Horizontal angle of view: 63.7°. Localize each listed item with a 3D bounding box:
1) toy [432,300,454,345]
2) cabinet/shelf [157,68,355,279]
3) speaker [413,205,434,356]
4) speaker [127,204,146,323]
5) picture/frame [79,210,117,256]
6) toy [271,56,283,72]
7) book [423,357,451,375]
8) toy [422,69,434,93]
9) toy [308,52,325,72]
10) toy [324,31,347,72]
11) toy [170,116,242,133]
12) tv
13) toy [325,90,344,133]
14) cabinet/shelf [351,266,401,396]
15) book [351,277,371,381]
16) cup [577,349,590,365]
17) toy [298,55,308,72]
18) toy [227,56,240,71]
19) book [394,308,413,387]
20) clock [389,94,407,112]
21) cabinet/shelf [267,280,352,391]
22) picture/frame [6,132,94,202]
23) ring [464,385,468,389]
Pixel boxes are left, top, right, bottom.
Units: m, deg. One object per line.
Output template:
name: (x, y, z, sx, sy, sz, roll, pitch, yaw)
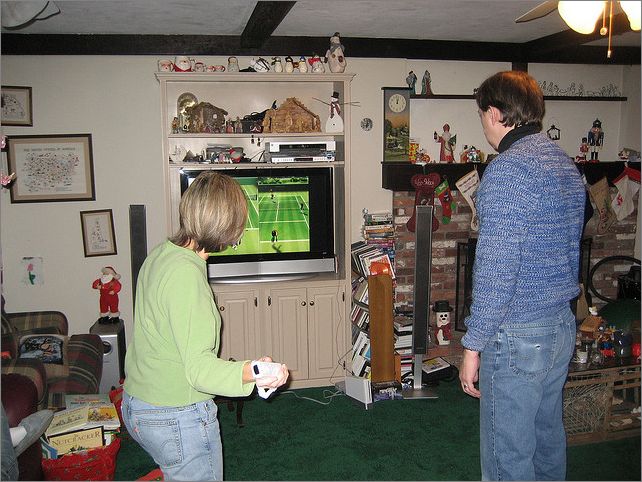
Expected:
toy: (1.163, 0.746, 4.877, 0.183, 0.364, 0.362, 0, 14, 14)
cabinet/shelf: (-0.577, -0.524, 4.578, 1.531, 1.784, 0.455, -2, 4, -10)
speaker: (0.844, 0.333, 4.261, 0.173, 1.236, 0.256, 0, 14, 12)
speaker: (-1.562, 0.149, 4.424, 0.144, 0.884, 0.085, 1, 0, -29)
picture/frame: (-2.005, -0.087, 4.593, 0.362, 0.517, 0.039, -5, 7, -9)
toy: (-0.366, -1.458, 4.274, 0.081, 0.149, 0.275, -4, 14, -5)
book: (1.003, 1.100, 4.553, 0.270, 0.027, 0.211, -8, 14, -20)
toy: (1.002, -1.493, 4.866, 0.081, 0.226, 0.094, -1, 13, 8)
toy: (-0.030, -1.499, 4.305, 0.101, 0.081, 0.204, -8, 45, -12)
toy: (0.119, -1.577, 4.343, 0.161, 0.339, 0.299, -3, 13, 1)
toy: (-0.998, -0.983, 4.382, 0.351, 0.116, 0.244, -7, 9, -38)
tv: (-0.429, -0.157, 3.654, 0.939, 0.692, 0.066, -3, 6, -9)
toy: (0.111, -1.096, 4.414, 0.157, 0.346, 0.198, -3, 13, 0)
cabinet/shelf: (0.521, 0.736, 4.291, 0.231, 0.910, 0.211, -1, 13, 7)
book: (0.347, 0.755, 4.423, 0.202, 0.647, 0.480, 2, -1, 2)
cup: (1.814, 0.798, 3.576, 0.075, 0.095, 0.096, 0, 1, 34)
toy: (-0.146, -1.464, 4.272, 0.069, 0.053, 0.138, -3, 53, -1)
toy: (-0.741, -1.479, 4.303, 0.095, 0.155, 0.318, -5, 14, -9)
book: (0.717, 0.915, 4.444, 0.129, 0.432, 0.318, 1, -2, -1)
clock: (0.707, -1.281, 4.774, 0.162, 0.163, 0.018, 0, 13, -4)
cabinet/shelf: (-0.110, 0.732, 4.259, 0.854, 1.096, 0.430, -3, 6, -9)
picture/frame: (-2.386, -0.655, 4.473, 0.587, 0.504, 0.048, -2, 10, -6)
ring: (0.669, 0.668, 2.369, 0.013, 0.024, 0.011, -37, 61, -23)
